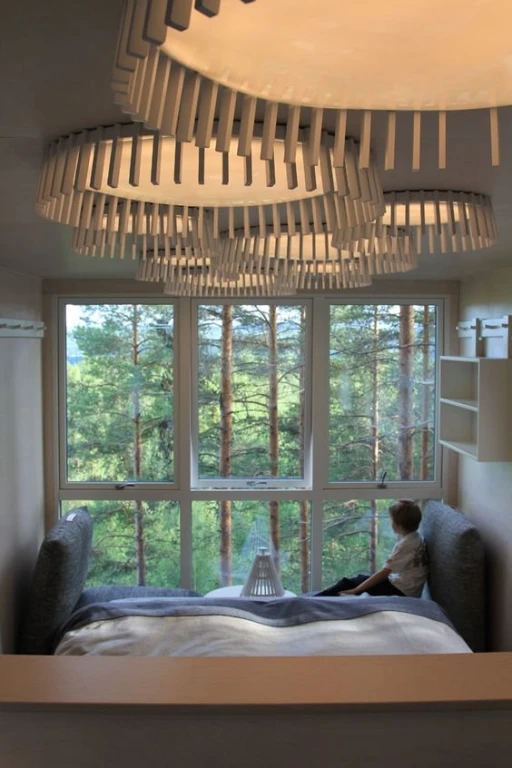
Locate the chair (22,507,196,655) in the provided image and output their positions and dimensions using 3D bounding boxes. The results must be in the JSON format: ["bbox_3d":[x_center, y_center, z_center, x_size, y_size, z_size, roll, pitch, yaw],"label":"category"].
[{"bbox_3d":[-0.710,0.949,3.224,0.669,0.400,0.660,5,-5,-10],"label":"chair"}]

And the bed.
[{"bbox_3d":[0.012,0.876,2.407,1.191,0.173,0.833,2,-13,-2],"label":"bed"}]
